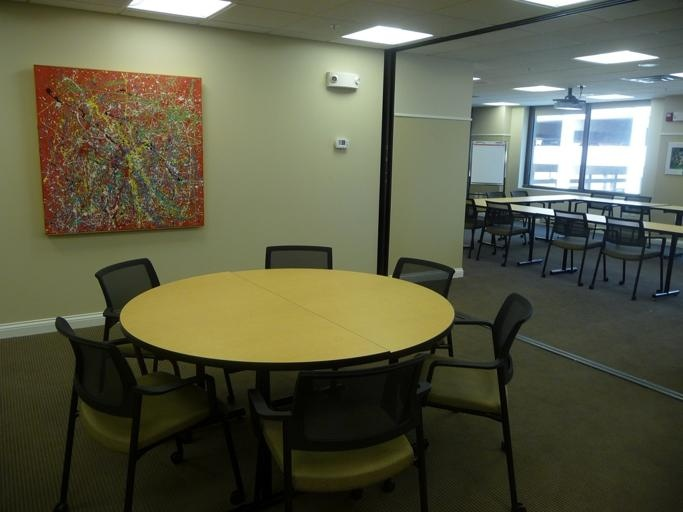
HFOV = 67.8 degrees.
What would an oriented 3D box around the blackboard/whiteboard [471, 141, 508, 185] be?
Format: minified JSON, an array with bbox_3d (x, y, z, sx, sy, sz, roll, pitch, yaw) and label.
[{"bbox_3d":[3.251,-2.056,11.323,0.929,1.134,0.086,1,-4,-7],"label":"blackboard/whiteboard"}]

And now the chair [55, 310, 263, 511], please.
[{"bbox_3d":[-1.218,0.765,3.376,1.113,1.529,1.002,-13,23,-43],"label":"chair"}]
